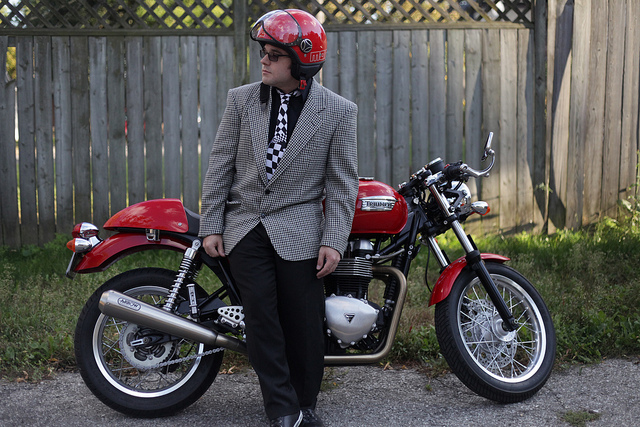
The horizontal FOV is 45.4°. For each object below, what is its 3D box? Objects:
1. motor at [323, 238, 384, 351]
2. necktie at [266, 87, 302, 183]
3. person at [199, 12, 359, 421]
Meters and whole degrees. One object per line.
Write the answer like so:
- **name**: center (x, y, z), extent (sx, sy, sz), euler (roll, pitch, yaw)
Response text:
- **motor**: center (0.244, 0.580, 6.441), extent (0.454, 1.059, 0.372), euler (2, 26, 2)
- **necktie**: center (-0.343, -0.657, 6.314), extent (0.197, 0.883, 0.082), euler (7, -2, 2)
- **person**: center (-0.327, 0.017, 6.187), extent (1.205, 3.236, 0.549), euler (2, 6, 5)
